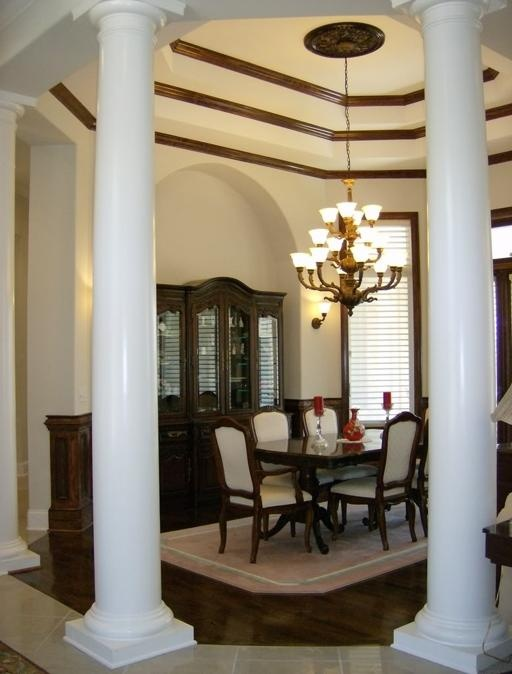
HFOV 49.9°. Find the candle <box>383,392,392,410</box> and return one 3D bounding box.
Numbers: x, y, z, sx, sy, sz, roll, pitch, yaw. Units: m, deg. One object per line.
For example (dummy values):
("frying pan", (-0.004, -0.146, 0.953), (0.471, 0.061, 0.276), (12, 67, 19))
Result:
("candle", (1.134, 0.564, 4.782), (0.060, 0.158, 0.198), (-3, -8, 17))

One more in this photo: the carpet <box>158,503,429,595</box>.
("carpet", (0.333, 1.576, 4.134), (1.935, 0.041, 1.679), (6, -10, -41))

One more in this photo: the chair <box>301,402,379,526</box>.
("chair", (0.645, 1.036, 5.099), (0.434, 0.788, 0.472), (-1, -9, 0))

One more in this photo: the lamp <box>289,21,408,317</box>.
("lamp", (0.876, -1.354, 5.758), (1.252, 2.528, 3.054), (-2, -8, 15))

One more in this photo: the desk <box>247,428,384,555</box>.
("desk", (0.398, 1.190, 4.627), (0.646, 0.772, 1.128), (-2, 5, 12))

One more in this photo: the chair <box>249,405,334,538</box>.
("chair", (0.427, 0.970, 4.904), (0.598, 1.060, 0.620), (-3, 1, -43))

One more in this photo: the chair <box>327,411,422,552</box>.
("chair", (0.945, 1.104, 4.347), (0.524, 0.952, 0.548), (4, -7, -40))
